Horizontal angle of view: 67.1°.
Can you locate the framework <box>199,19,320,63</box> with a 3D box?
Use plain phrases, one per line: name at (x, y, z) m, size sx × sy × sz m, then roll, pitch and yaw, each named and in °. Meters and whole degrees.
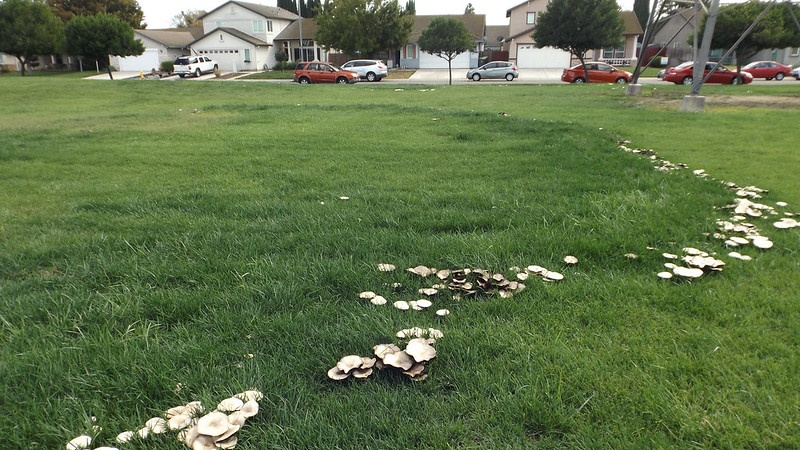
framework at (-14.169, -18.199, 59.935) m, size 9.292 × 4.452 × 9.416 m, roll 5°, pitch 26°, yaw 10°
